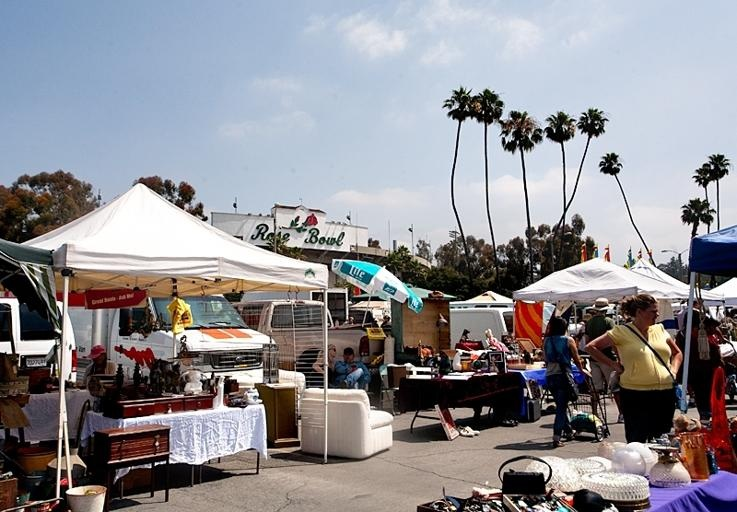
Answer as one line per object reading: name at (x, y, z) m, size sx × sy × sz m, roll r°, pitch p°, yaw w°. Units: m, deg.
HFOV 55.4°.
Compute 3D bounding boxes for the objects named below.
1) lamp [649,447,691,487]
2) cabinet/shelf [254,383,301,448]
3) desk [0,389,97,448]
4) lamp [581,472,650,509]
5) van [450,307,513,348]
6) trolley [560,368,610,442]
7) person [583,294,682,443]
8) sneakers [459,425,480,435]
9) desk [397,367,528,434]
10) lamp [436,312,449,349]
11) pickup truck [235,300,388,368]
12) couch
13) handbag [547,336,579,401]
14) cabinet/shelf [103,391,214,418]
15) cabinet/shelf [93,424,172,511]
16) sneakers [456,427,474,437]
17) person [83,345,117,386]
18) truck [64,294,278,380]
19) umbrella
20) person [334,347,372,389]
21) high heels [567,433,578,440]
lamp at (3.042, 2.137, 7.148) m, size 0.406 × 0.451 × 0.411 m, roll 13°, pitch -21°, yaw -34°
cabinet/shelf at (-1.549, 2.705, 12.159) m, size 0.388 × 0.982 × 1.089 m, roll -1°, pitch -3°, yaw -19°
desk at (-4.511, 2.305, 10.108) m, size 0.847 × 0.661 × 0.880 m, roll 2°, pitch -9°, yaw -26°
lamp at (2.349, 2.247, 6.709) m, size 0.605 × 0.286 × 0.335 m, roll -4°, pitch -6°, yaw 19°
van at (3.434, 2.240, 21.537) m, size 1.760 × 1.030 × 1.197 m, roll -2°, pitch -3°, yaw 13°
trolley at (3.752, 2.548, 12.260) m, size 0.881 × 1.261 × 0.649 m, roll -3°, pitch 4°, yaw -39°
person at (3.291, 1.381, 8.602) m, size 1.008 × 1.787 × 0.479 m, roll -3°, pitch -6°, yaw 18°
sneakers at (1.793, 3.135, 12.574) m, size 0.225 × 0.082 × 0.175 m, roll 5°, pitch -1°, yaw 8°
desk at (1.790, 2.691, 13.066) m, size 2.431 × 0.994 × 0.941 m, roll 3°, pitch -7°, yaw -39°
lamp at (1.832, 1.867, 17.356) m, size 0.290 × 0.918 × 0.937 m, roll -2°, pitch -6°, yaw 7°
pickup truck at (-1.577, 1.859, 17.273) m, size 3.164 × 1.406 × 1.759 m, roll 2°, pitch -1°, yaw 39°
couch at (-0.353, 2.683, 11.554) m, size 1.522 × 1.086 × 1.556 m, roll 3°, pitch -6°, yaw -28°
handbag at (3.174, 1.845, 11.582) m, size 0.520 × 1.065 × 0.394 m, roll -3°, pitch -6°, yaw 14°
cabinet/shelf at (-2.839, 2.048, 9.651) m, size 1.412 × 0.235 × 0.383 m, roll 1°, pitch -6°, yaw -28°
cabinet/shelf at (-3.067, 2.719, 9.063) m, size 0.879 × 1.029 × 0.459 m, roll 4°, pitch -8°, yaw -45°
sneakers at (1.729, 3.147, 12.573) m, size 0.208 × 0.082 × 0.122 m, roll 2°, pitch 0°, yaw 36°
person at (-4.358, 1.888, 11.305) m, size 0.258 × 0.768 × 0.349 m, roll -14°, pitch -29°, yaw 28°
truck at (-4.214, 1.845, 14.859) m, size 3.995 × 2.333 × 2.159 m, roll -13°, pitch -12°, yaw 38°
umbrella at (0.161, 0.607, 14.775) m, size 1.600 × 1.072 × 1.210 m, roll 4°, pitch -7°, yaw -43°
person at (-0.335, 2.266, 14.063) m, size 0.656 × 0.850 × 1.422 m, roll 0°, pitch -6°, yaw -4°
high heels at (3.512, 3.108, 12.117) m, size 0.111 × 0.080 × 0.212 m, roll -1°, pitch -11°, yaw 0°
